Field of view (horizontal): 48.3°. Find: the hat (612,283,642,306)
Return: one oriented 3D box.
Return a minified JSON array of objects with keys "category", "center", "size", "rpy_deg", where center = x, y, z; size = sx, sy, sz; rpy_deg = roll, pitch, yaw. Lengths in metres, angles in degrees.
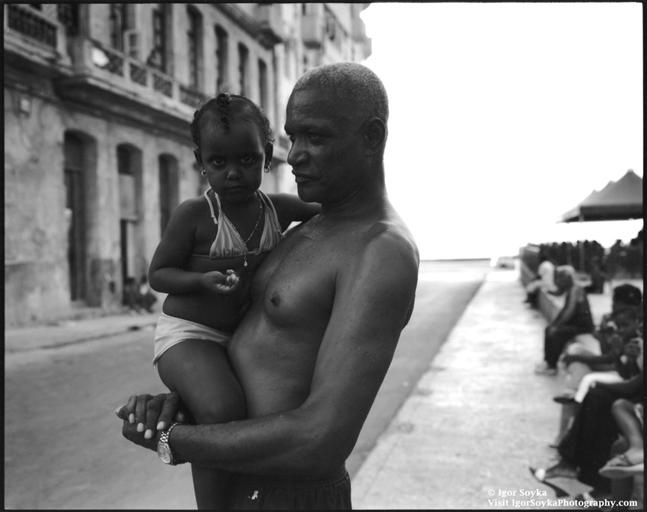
[{"category":"hat","center":[2.491,0.322,5.934],"size":[0.214,0.186,0.172],"rpy_deg":[-1,2,24]}]

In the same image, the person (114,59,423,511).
[{"category":"person","center":[-0.133,0.042,3.088],"size":[1.058,1.700,0.440],"rpy_deg":[-1,2,8]}]

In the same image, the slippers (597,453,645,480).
[{"category":"slippers","center":[2.437,1.746,5.961],"size":[0.124,0.289,0.440],"rpy_deg":[-2,2,-20]}]

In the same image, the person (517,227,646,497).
[{"category":"person","center":[2.419,1.145,6.377],"size":[0.589,1.849,1.015],"rpy_deg":[-3,3,-40]}]
